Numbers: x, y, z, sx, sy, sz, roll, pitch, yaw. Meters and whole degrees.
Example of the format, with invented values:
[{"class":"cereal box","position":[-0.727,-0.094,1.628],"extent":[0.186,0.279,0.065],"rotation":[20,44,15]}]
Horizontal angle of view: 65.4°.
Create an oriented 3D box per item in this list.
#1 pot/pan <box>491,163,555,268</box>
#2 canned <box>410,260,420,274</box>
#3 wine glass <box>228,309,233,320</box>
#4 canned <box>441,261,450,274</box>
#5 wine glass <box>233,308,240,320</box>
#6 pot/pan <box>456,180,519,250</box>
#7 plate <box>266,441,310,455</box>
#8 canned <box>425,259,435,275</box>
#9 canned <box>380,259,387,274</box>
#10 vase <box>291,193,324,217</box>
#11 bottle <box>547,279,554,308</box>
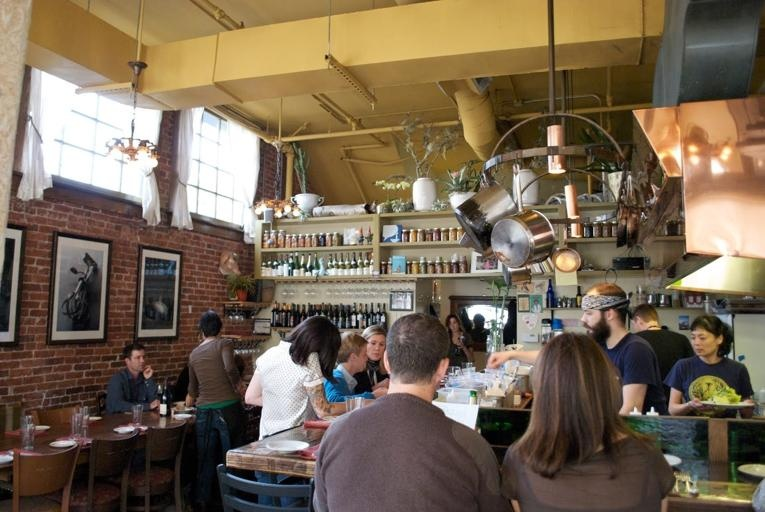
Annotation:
[{"class":"pot/pan","position":[0.778,-0.224,3.278],"extent":[0.328,0.525,0.197],"rotation":[7,12,40]},{"class":"canned","position":[0.422,0.136,7.465],"extent":[0.124,0.185,0.133],"rotation":[-8,-8,33]},{"class":"wine glass","position":[-2.036,0.791,8.005],"extent":[0.069,0.089,0.030],"rotation":[5,8,-9]},{"class":"canned","position":[0.787,0.141,7.314],"extent":[0.126,0.196,0.123],"rotation":[1,-8,3]},{"class":"wine glass","position":[-1.944,0.801,8.009],"extent":[0.094,0.167,0.093],"rotation":[2,4,12]},{"class":"pot/pan","position":[0.593,-0.237,3.582],"extent":[0.339,0.297,0.391],"rotation":[-38,26,-17]},{"class":"plate","position":[-0.577,1.164,3.646],"extent":[0.230,0.056,0.184],"rotation":[-10,-9,44]},{"class":"canned","position":[0.604,0.147,7.391],"extent":[0.141,0.216,0.139],"rotation":[0,-8,11]},{"class":"canned","position":[0.034,0.135,7.518],"extent":[0.076,0.199,0.129],"rotation":[-7,-7,24]},{"class":"vase","position":[-1.006,-0.672,7.984],"extent":[0.431,0.279,0.290],"rotation":[-1,-10,1]},{"class":"bottle","position":[1.997,0.448,7.077],"extent":[0.117,0.338,0.056],"rotation":[-4,-7,-2]}]
